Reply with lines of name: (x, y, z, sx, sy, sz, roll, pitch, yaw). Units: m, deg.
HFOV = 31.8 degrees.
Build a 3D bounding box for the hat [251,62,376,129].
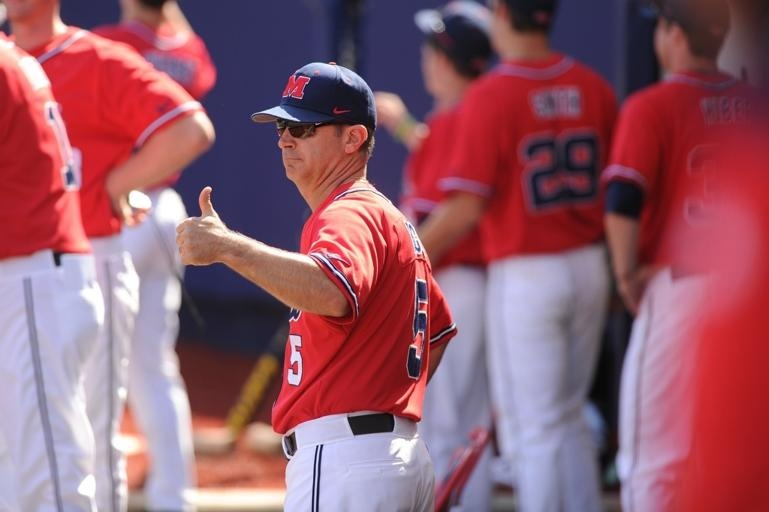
hat: (-0.272, -0.619, 5.305, 0.355, 0.294, 0.531, -6, -7, 45)
